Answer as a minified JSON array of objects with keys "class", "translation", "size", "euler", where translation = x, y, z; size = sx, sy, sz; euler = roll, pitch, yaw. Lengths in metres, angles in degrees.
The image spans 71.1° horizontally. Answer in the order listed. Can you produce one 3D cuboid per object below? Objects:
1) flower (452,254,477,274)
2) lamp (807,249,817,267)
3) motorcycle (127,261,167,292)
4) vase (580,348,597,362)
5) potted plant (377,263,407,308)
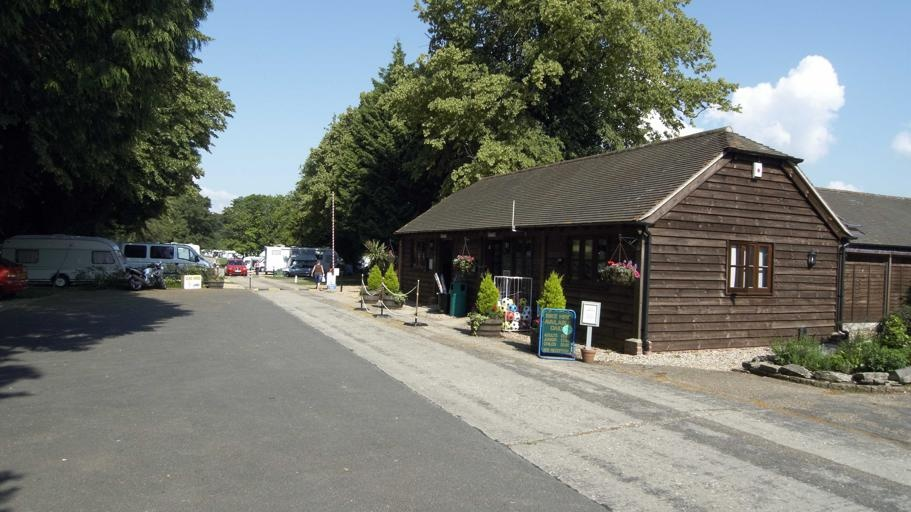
[{"class":"flower","translation":[0.399,0.369,31.323],"size":[0.927,0.682,0.978],"euler":[1,-3,18]},{"class":"lamp","translation":[14.752,0.134,26.412],"size":[0.633,0.802,0.194],"euler":[7,-5,-35]},{"class":"motorcycle","translation":[-18.897,1.312,39.165],"size":[1.798,1.674,2.838],"euler":[4,-5,0]},{"class":"vase","translation":[4.633,3.466,22.357],"size":[0.435,0.514,0.436],"euler":[3,-5,11]},{"class":"potted plant","translation":[-3.261,1.566,33.838],"size":[1.405,2.305,3.996],"euler":[4,-5,-5]}]
